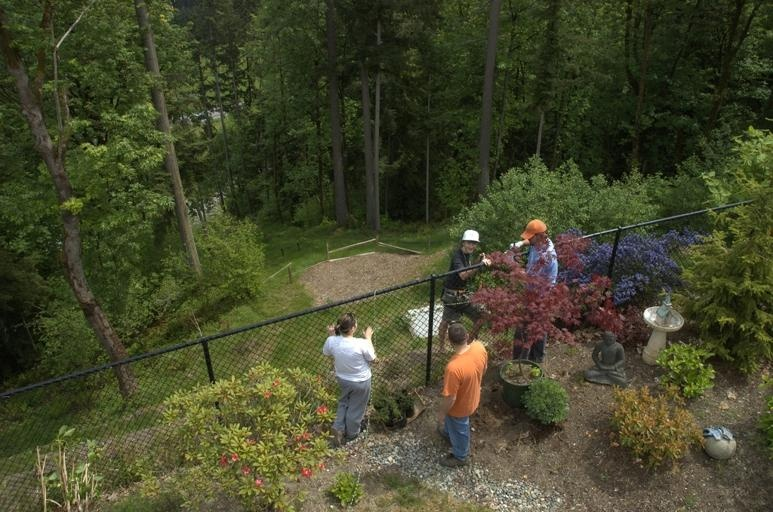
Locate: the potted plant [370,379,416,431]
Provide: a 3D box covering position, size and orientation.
[{"bbox_3d":[0.097,4.136,16.465,1.061,0.626,1.126,-5,37,-7],"label":"potted plant"}]

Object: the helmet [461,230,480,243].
[{"bbox_3d":[2.531,-0.583,17.464,0.388,0.335,0.560,4,4,1],"label":"helmet"}]

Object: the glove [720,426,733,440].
[{"bbox_3d":[8.849,4.612,15.065,0.260,0.087,0.272,14,46,-6],"label":"glove"}]

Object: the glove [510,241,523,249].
[{"bbox_3d":[3.726,-0.299,16.604,0.248,0.194,0.789,-1,0,8],"label":"glove"}]

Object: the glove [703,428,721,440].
[{"bbox_3d":[8.496,4.618,15.096,0.406,0.215,0.249,8,20,23],"label":"glove"}]

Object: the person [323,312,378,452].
[{"bbox_3d":[-0.957,3.322,15.776,1.240,3.611,0.834,-3,18,-10],"label":"person"}]

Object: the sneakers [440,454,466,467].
[{"bbox_3d":[1.797,5.501,15.606,0.658,0.311,0.303,10,40,5],"label":"sneakers"}]

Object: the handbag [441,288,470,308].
[{"bbox_3d":[1.996,1.235,17.345,0.466,0.461,0.608,4,-4,-44],"label":"handbag"}]

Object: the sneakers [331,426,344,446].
[{"bbox_3d":[-1.345,4.924,15.938,0.200,0.615,0.246,-6,-12,5],"label":"sneakers"}]

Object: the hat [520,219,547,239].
[{"bbox_3d":[4.128,-0.764,16.357,0.699,0.441,0.510,-16,26,17],"label":"hat"}]

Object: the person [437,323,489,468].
[{"bbox_3d":[1.964,3.704,15.248,1.254,3.893,0.762,-14,22,-37],"label":"person"}]
